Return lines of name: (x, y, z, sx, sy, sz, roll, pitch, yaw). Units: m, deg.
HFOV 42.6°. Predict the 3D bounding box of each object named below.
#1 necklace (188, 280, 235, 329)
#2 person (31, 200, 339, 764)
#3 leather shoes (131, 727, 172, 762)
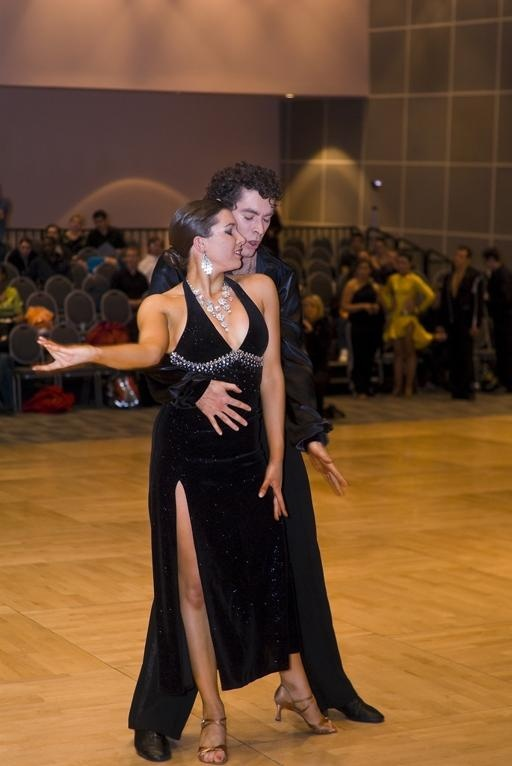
necklace: (-0.100, -0.169, 1.457, 0.011, 0.091, 0.101, -18, -8, 38)
person: (-0.126, 0.308, 1.502, 0.281, 1.417, 0.767, 8, 12, 37)
leather shoes: (-0.263, 0.917, 1.669, 0.047, 0.052, 0.130, 2, -16, -23)
